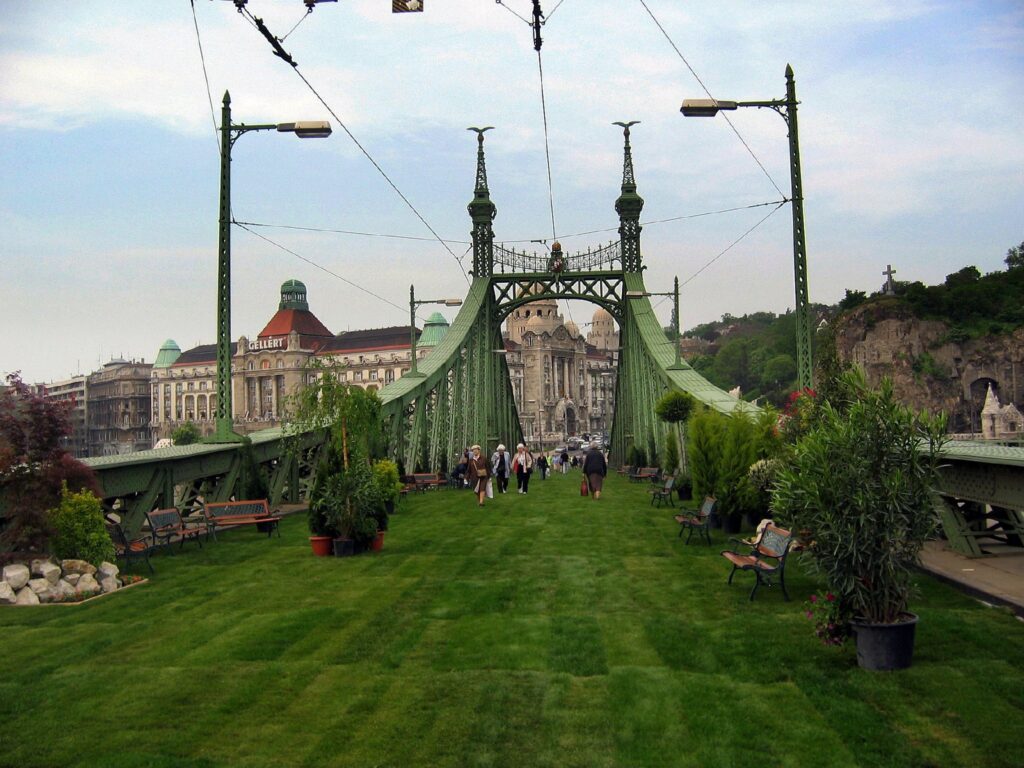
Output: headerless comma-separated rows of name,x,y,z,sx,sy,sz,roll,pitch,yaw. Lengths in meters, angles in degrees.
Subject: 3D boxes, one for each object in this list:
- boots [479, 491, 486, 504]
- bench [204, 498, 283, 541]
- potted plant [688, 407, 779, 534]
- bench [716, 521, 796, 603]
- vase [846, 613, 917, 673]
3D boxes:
boots,-0.875,3.289,27.066,0.176,0.457,0.556,-2,5,-6
bench,-6.194,3.064,21.352,1.472,1.015,2.354,-3,6,-17
potted plant,5.106,1.871,21.194,1.475,3.080,1.563,-4,-2,3
bench,3.975,2.732,14.646,1.248,1.362,1.038,0,-2,-12
vase,4.454,3.084,11.187,0.608,0.624,0.671,0,-5,-6
